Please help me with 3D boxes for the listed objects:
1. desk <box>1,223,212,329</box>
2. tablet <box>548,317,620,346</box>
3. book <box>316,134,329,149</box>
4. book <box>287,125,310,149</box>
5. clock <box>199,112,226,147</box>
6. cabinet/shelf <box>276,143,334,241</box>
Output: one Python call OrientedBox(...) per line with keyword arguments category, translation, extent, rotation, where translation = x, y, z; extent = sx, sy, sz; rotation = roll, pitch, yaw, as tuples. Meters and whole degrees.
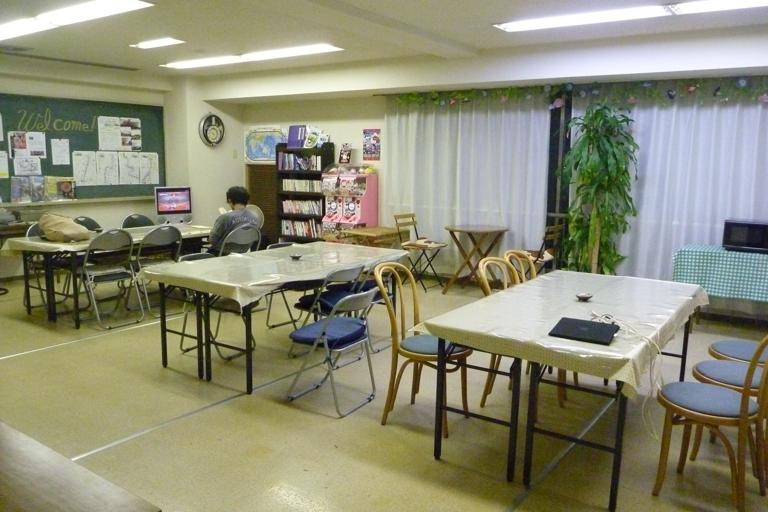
OrientedBox(category="desk", translation=(-3.831, 0.014, 6.933), extent=(1.449, 1.142, 3.175), rotation=(11, 14, 38))
OrientedBox(category="tablet", translation=(1.330, 0.494, 3.560), extent=(0.405, 0.084, 0.353), rotation=(3, 9, 27))
OrientedBox(category="book", translation=(-1.023, -1.931, 8.957), extent=(0.075, 0.218, 0.246), rotation=(6, 11, 34))
OrientedBox(category="book", translation=(-1.471, -2.035, 9.070), extent=(0.444, 0.379, 0.161), rotation=(3, 11, 26))
OrientedBox(category="clock", translation=(-3.102, -2.260, 9.607), extent=(0.113, 0.600, 0.542), rotation=(5, 11, 30))
OrientedBox(category="cabinet/shelf", translation=(-1.379, -1.103, 9.476), extent=(0.996, 1.739, 0.511), rotation=(10, 14, 28))
